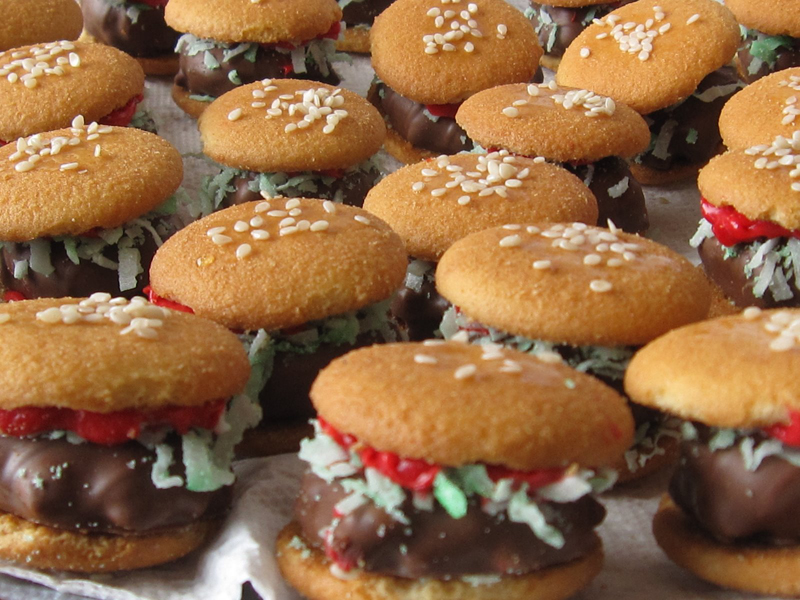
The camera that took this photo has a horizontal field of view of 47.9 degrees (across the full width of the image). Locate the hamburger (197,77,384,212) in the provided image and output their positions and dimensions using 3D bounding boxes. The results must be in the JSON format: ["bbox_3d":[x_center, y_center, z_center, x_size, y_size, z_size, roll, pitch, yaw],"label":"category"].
[{"bbox_3d":[-0.364,-0.580,3.151,0.656,0.286,0.536,9,28,15],"label":"hamburger"}]

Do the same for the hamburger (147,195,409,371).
[{"bbox_3d":[-0.312,-0.065,2.445,0.602,0.127,0.425,-10,28,-17],"label":"hamburger"}]
